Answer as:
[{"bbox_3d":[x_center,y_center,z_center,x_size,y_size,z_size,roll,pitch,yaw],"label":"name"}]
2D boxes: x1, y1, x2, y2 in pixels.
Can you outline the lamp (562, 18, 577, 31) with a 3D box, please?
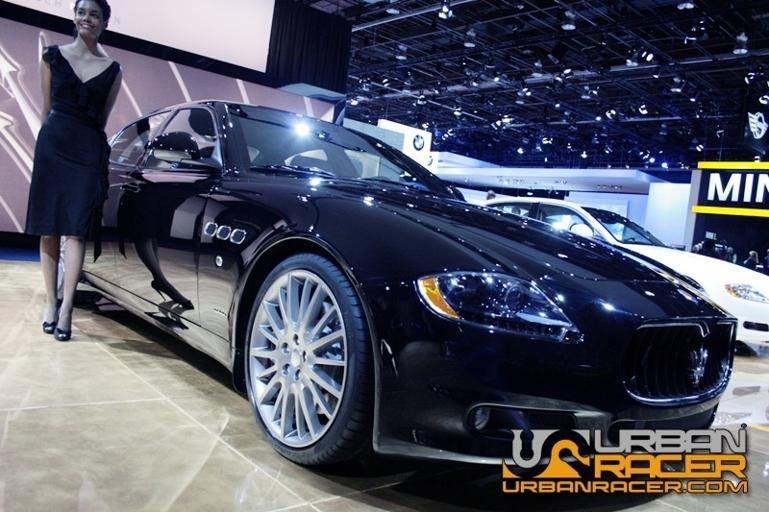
[{"bbox_3d":[4.205,-5.289,10.431,0.239,0.184,0.383,11,8,27],"label":"lamp"}]
